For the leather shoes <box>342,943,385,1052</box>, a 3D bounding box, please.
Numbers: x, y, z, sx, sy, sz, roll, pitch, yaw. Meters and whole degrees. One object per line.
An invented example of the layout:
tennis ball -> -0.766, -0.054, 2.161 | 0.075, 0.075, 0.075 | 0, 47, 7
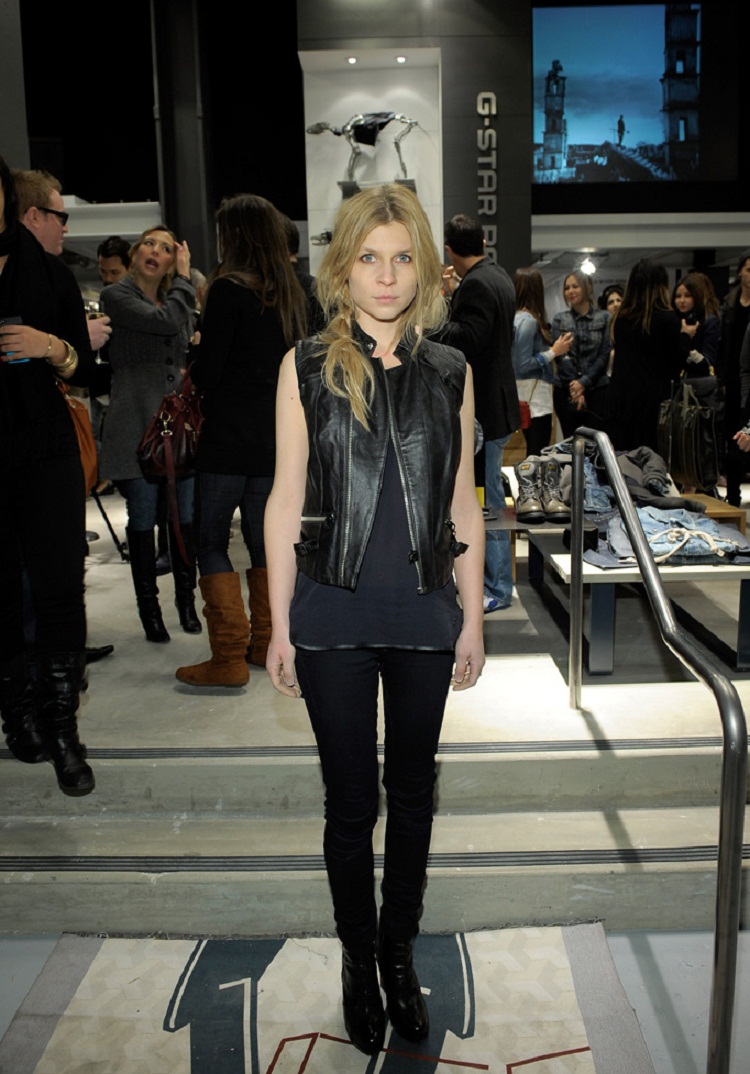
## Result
leather shoes -> -0.022, 0.809, 1.439 | 0.066, 0.133, 0.193 | -2, 3, -4

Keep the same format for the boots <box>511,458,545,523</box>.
boots -> 0.718, -0.220, 3.810 | 0.131, 0.250, 0.396 | -7, 19, 8

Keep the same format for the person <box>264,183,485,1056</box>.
person -> 0.019, 0.196, 1.323 | 0.291, 1.448, 0.365 | 6, 15, 31

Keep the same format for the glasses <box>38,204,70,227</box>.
glasses -> -0.924, -0.931, 2.339 | 0.086, 0.025, 0.081 | 12, 4, -24

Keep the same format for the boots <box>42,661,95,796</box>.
boots -> -0.746, 0.458, 1.961 | 0.103, 0.366, 0.087 | -7, 14, -23
